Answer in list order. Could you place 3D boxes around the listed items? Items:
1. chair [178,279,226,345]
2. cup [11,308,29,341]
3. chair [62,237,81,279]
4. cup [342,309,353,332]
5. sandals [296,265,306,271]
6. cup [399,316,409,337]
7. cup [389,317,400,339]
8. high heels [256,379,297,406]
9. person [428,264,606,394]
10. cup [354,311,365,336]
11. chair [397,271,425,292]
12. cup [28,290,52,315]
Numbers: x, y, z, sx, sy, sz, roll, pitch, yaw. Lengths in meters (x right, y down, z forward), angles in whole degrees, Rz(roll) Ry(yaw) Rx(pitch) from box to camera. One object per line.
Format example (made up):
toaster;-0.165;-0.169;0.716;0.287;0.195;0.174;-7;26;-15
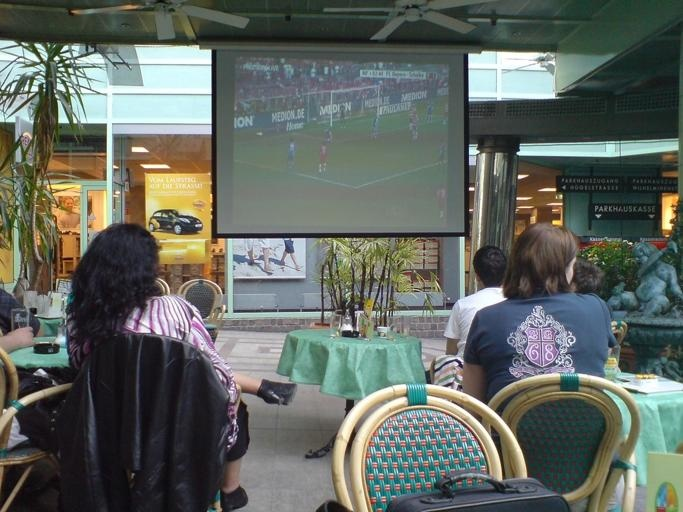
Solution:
chair;-1.470;0.663;6.432;0.532;0.828;0.576;-1;0;-22
cup;-1.884;0.367;3.727;0.097;0.115;0.206;-1;5;-28
chair;-4.040;0.023;9.608;0.154;0.558;0.278;13;-9;-33
cup;0.042;0.453;4.450;0.097;0.169;0.093;2;-8;0
sandals;-0.598;0.184;9.305;0.156;0.106;0.055;-2;5;0
cup;0.452;0.507;4.545;0.093;0.188;0.098;0;-6;0
cup;0.379;0.509;4.490;0.072;0.137;0.129;1;2;-3
high heels;-0.376;0.801;3.735;0.201;0.136;0.143;22;-32;-29
person;0.811;0.325;3.264;0.802;0.575;1.022;3;7;-17
cup;0.129;0.473;4.501;0.051;0.185;0.070;-2;-12;-5
chair;0.828;0.303;7.448;0.299;0.223;0.309;-3;0;-24
cup;-2.251;0.349;4.841;0.197;0.216;0.178;2;1;15
